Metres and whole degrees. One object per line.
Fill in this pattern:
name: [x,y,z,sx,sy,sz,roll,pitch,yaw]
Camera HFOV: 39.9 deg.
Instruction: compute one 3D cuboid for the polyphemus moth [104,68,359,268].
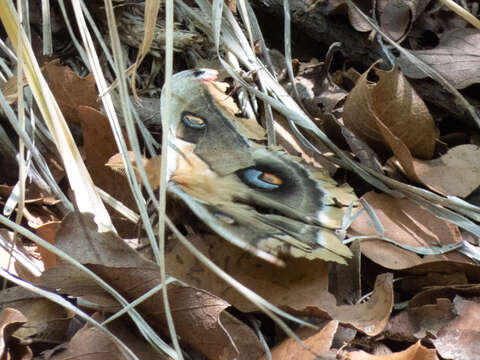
polyphemus moth: [-0.047,0.052,1.802,0.564,0.228,0.617,4,44,-26]
